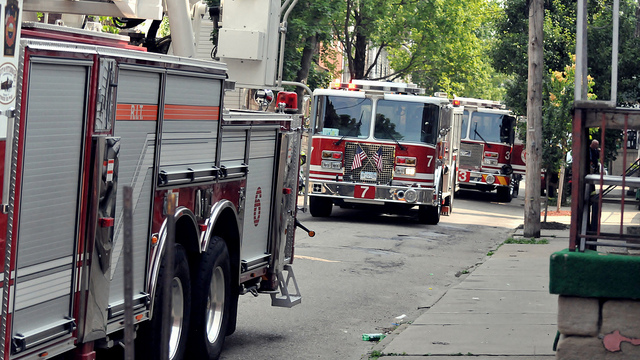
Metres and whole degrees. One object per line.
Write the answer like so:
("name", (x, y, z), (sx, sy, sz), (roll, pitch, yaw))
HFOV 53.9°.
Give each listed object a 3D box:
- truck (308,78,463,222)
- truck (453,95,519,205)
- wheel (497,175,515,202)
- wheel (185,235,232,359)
("truck", (2.303, -0.825, 19.345), (3.364, 4.390, 4.708), (6, 7, 42))
("truck", (7.500, -1.316, 28.406), (2.558, 4.632, 5.063), (3, 6, 19))
("wheel", (8.295, 0.345, 28.447), (0.438, 1.203, 1.279), (0, 3, 8))
("wheel", (-1.266, 1.378, 7.321), (0.580, 1.353, 0.596), (0, -1, 0))
